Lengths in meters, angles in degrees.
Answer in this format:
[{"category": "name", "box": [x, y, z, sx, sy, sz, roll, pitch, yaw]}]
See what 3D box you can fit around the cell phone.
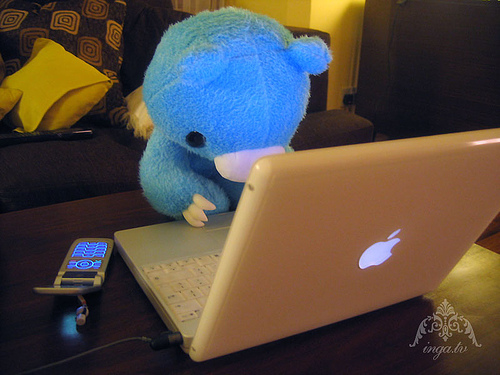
[{"category": "cell phone", "box": [-0.276, 0.136, 0.640, 0.054, 0.053, 0.155, 3, 28, -8]}]
